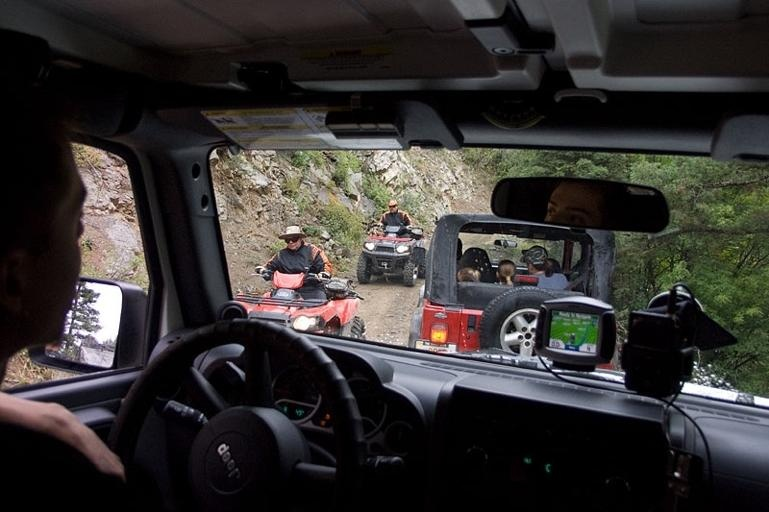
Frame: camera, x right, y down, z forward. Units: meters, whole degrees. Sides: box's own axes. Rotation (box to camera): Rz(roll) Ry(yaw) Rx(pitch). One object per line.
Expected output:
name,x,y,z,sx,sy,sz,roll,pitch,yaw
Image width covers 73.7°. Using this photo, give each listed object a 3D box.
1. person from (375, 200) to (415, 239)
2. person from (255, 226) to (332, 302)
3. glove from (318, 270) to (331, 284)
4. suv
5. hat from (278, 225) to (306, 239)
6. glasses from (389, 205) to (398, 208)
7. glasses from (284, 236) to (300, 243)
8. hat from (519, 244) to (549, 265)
person,0.100,-0.407,7.219,0.521,0.730,0.502,-2,10,-5
person,-1.217,0.119,6.116,1.028,0.990,0.759,-3,5,9
glove,-0.710,0.245,6.029,0.132,0.169,0.066,-1,28,2
suv,0.978,0.252,4.369,1.086,0.922,1.767,5,4,11
hat,-1.040,-0.263,5.832,0.289,0.175,0.133,-2,13,-11
glasses,0.117,-0.683,6.987,0.055,0.046,0.149,-8,15,-34
glasses,-1.047,-0.184,5.834,0.084,0.083,0.028,-7,-37,5
hat,1.295,-0.013,4.494,0.150,0.114,0.218,-7,11,-30
